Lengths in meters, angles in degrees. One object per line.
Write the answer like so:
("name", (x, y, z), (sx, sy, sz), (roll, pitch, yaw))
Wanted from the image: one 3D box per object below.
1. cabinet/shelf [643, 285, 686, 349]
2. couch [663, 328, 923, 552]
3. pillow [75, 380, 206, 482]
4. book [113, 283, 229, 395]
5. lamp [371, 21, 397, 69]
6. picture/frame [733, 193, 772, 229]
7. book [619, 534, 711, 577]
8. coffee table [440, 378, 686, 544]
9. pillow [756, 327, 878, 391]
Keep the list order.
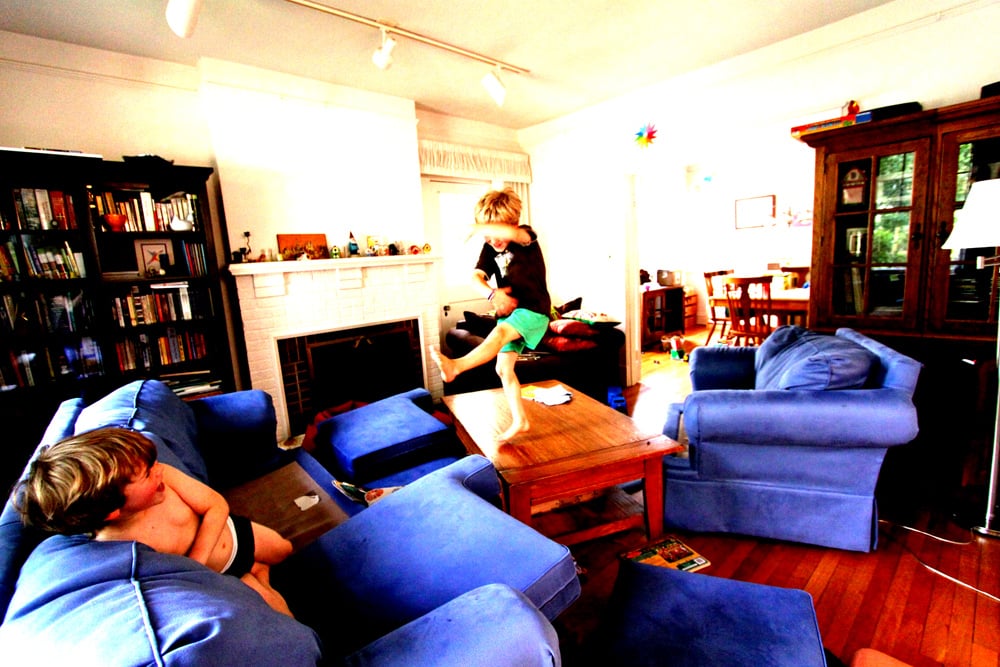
("cabinet/shelf", (1.979, -0.216, 7.900), (0.276, 0.526, 0.774), (3, 11, 33))
("couch", (1.710, 0.587, 4.031), (1.339, 0.945, 1.319), (2, 11, 19))
("pillow", (-1.877, 0.408, 3.391), (0.725, 0.231, 0.499), (27, 33, 32))
("book", (-2.459, 0.023, 4.734), (0.842, 0.781, 0.270), (-6, 9, -38))
("lamp", (-0.815, -2.002, 4.600), (0.131, 0.248, 0.129), (2, 13, -36))
("picture/frame", (3.201, -1.567, 8.157), (0.075, 0.415, 0.513), (-10, 9, -33))
("book", (0.939, 1.240, 3.605), (0.246, 0.037, 0.263), (-9, 10, -30))
("coffee table", (0.364, 0.682, 3.873), (0.870, 0.576, 1.294), (-8, 13, -24))
("pillow", (1.831, 0.144, 3.692), (0.456, 0.135, 0.458), (-20, 8, -9))
